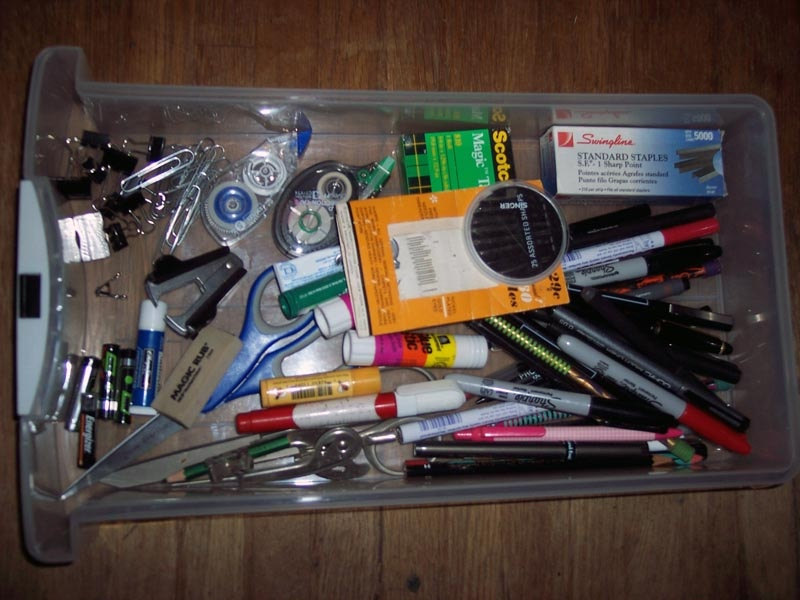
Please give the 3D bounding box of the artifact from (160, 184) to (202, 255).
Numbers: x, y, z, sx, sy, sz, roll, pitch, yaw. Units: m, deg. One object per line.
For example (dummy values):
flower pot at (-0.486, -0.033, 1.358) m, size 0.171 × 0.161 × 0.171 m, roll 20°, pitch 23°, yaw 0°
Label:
artifact at (-0.413, -0.153, 1.513) m, size 0.047 × 0.039 × 0.160 m, roll 20°, pitch 92°, yaw -5°

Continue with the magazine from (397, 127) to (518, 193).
magazine at (0.118, -0.243, 1.553) m, size 0.214 × 0.049 × 0.144 m, roll -10°, pitch 54°, yaw 10°

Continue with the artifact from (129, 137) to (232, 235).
artifact at (-0.436, -0.226, 1.562) m, size 0.204 × 0.047 × 0.104 m, roll -39°, pitch 90°, yaw -3°
